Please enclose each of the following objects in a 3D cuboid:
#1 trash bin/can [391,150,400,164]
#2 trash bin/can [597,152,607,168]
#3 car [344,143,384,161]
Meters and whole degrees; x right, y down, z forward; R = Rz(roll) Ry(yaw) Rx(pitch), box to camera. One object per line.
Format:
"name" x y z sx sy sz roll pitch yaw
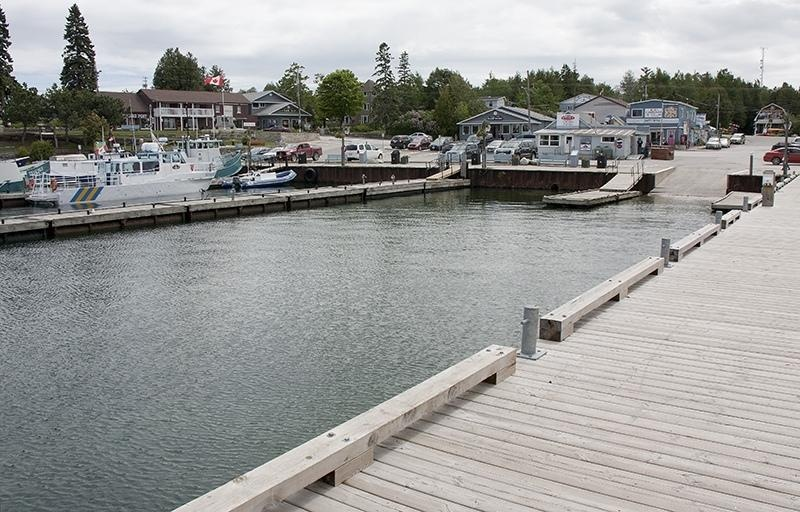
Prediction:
"trash bin/can" -0.335 -7.547 53.809 0.615 0.857 1.451 -2 12 -2
"trash bin/can" 13.075 -6.105 45.610 0.476 0.753 0.812 0 12 7
"car" -2.585 -8.467 56.692 1.419 0.988 2.645 11 19 40
